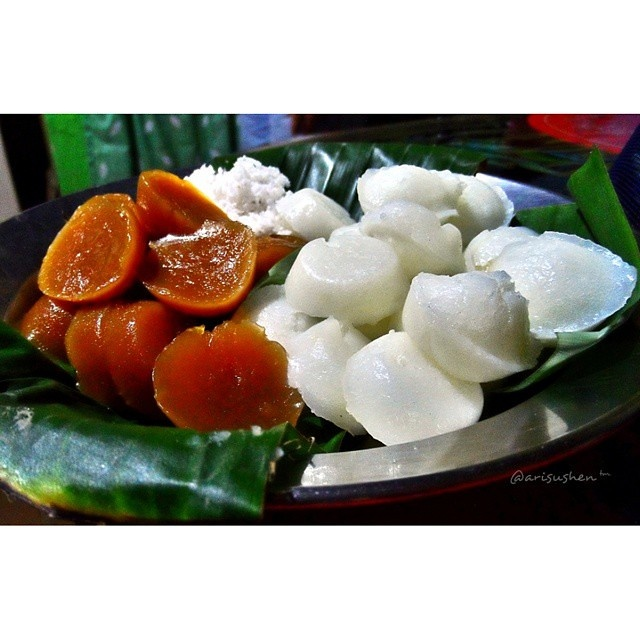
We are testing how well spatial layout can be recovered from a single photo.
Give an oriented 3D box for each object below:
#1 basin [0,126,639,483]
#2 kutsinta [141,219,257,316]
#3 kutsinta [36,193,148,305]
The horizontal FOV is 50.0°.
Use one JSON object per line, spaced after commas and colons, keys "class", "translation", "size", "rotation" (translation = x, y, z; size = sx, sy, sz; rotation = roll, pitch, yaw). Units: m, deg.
{"class": "basin", "translation": [0.316, -0.021, 1.893], "size": [1.087, 0.196, 1.048], "rotation": [-9, 28, 5]}
{"class": "kutsinta", "translation": [-0.242, -0.112, 1.395], "size": [0.079, 0.158, 0.210], "rotation": [-19, 12, 16]}
{"class": "kutsinta", "translation": [-0.457, -0.147, 1.389], "size": [0.217, 0.108, 0.241], "rotation": [13, 55, 4]}
